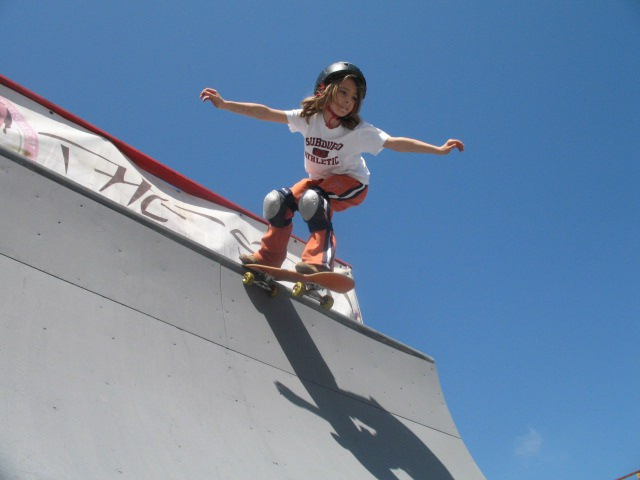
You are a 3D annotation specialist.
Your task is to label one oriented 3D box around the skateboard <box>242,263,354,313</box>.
[{"bbox_3d":[-0.178,0.403,7.598,1.028,0.308,0.431,11,-36,7],"label":"skateboard"}]
